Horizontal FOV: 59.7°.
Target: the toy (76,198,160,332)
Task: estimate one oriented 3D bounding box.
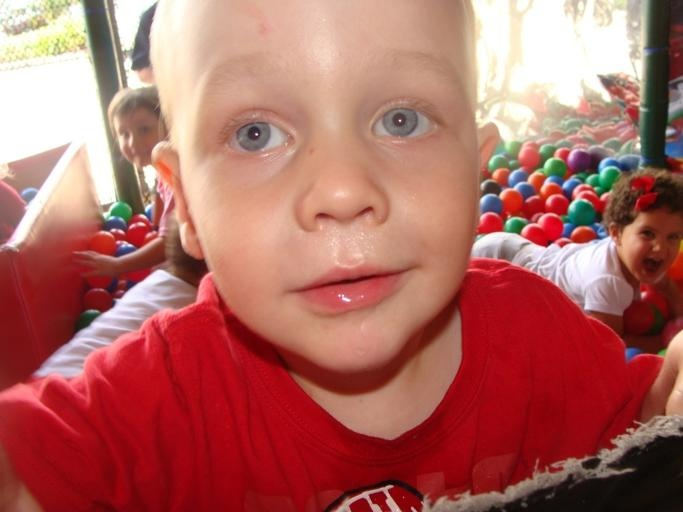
[{"bbox_3d":[-0.938,0.023,2.575,0.496,0.156,0.487,-22,32,-26],"label":"toy"}]
